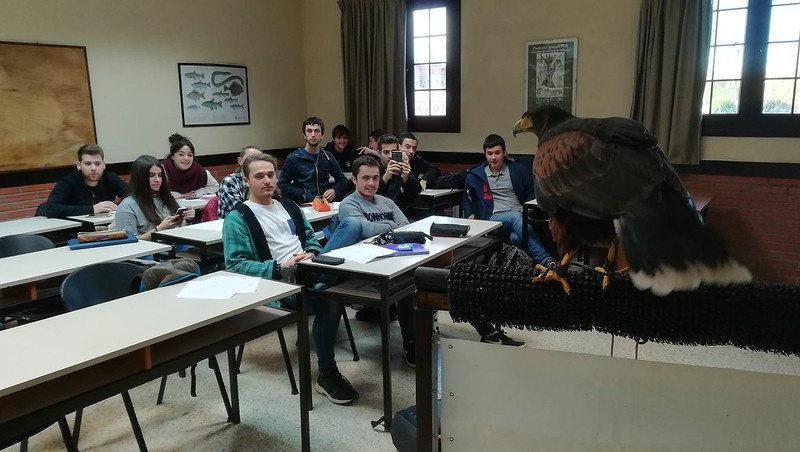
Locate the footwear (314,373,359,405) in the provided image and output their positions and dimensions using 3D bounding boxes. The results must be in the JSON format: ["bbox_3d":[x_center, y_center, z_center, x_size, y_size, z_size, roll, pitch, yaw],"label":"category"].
[{"bbox_3d":[-0.495,1.252,3.934,0.418,0.177,0.197,9,6,42],"label":"footwear"}]

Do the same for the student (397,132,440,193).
[{"bbox_3d":[0.249,-0.860,6.944,0.630,0.804,0.322,-32,28,-22],"label":"student"}]

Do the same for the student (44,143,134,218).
[{"bbox_3d":[-3.570,-0.498,5.634,0.472,0.587,0.884,12,17,32],"label":"student"}]

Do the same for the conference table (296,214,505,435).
[{"bbox_3d":[-0.088,0.642,3.230,0.602,0.831,1.560,2,6,25],"label":"conference table"}]

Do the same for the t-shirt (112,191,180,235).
[{"bbox_3d":[-2.500,-0.154,4.982,0.280,0.414,0.565,42,40,21],"label":"t-shirt"}]

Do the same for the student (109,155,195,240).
[{"bbox_3d":[-2.470,-0.199,5.033,0.869,0.934,0.622,6,13,7],"label":"student"}]

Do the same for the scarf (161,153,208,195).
[{"bbox_3d":[-2.798,-0.656,6.390,0.630,0.448,0.341,-7,29,-20],"label":"scarf"}]

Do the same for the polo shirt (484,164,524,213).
[{"bbox_3d":[1.204,-0.495,6.218,0.477,0.620,0.336,-18,36,-1],"label":"polo shirt"}]

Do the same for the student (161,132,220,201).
[{"bbox_3d":[-2.745,-0.766,6.442,0.548,0.809,0.881,12,23,19],"label":"student"}]

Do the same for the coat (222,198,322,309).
[{"bbox_3d":[-1.059,0.200,4.223,0.514,0.890,0.943,-9,0,34],"label":"coat"}]

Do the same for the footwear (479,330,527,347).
[{"bbox_3d":[0.435,0.490,2.156,0.254,0.082,0.089,1,-4,10],"label":"footwear"}]

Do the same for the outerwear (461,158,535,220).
[{"bbox_3d":[1.186,-0.415,6.007,0.722,0.561,0.389,-15,-2,3],"label":"outerwear"}]
